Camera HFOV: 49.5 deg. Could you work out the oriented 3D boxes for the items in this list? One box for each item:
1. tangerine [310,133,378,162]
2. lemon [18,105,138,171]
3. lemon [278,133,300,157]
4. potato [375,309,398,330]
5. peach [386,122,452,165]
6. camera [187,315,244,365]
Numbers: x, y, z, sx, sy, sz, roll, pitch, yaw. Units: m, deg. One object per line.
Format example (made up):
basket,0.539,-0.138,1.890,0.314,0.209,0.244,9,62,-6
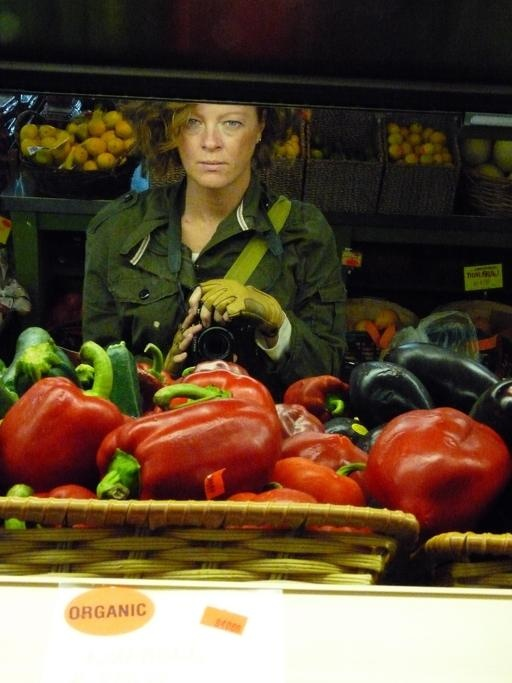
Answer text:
tangerine,0.216,-0.489,1.415,0.126,0.066,0.072,-9,18,-9
lemon,-0.386,-0.433,1.223,0.218,0.081,0.200,-14,31,-35
lemon,0.076,-0.452,1.297,0.050,0.028,0.063,-3,37,19
potato,0.283,-0.047,1.201,0.037,0.024,0.044,5,31,8
peach,0.411,-0.494,1.406,0.153,0.085,0.136,0,47,1
camera,-0.077,-0.005,1.040,0.100,0.068,0.124,-4,15,-13
